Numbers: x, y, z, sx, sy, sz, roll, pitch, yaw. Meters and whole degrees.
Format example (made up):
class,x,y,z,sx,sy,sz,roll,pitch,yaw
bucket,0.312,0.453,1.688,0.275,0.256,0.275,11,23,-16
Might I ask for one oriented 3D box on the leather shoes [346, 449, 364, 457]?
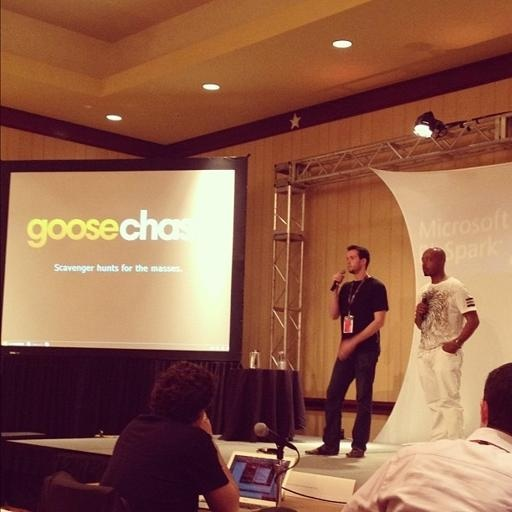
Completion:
class,x,y,z,sx,sy,sz,roll,pitch,yaw
leather shoes,0.836,1.648,4.221,0.133,0.059,0.065,1,-7,2

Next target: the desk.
class,x,y,z,sx,sy,sz,roll,pitch,yaw
desk,0.076,1.499,5.119,0.785,0.618,0.785,2,-13,-13

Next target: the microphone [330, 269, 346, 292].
class,x,y,z,sx,sy,sz,roll,pitch,yaw
microphone,0.892,0.260,5.448,0.104,0.310,0.094,48,-29,-22

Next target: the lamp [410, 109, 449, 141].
class,x,y,z,sx,sy,sz,roll,pitch,yaw
lamp,1.852,-1.362,5.357,0.266,0.172,0.365,17,6,23

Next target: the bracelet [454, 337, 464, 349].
class,x,y,z,sx,sy,sz,roll,pitch,yaw
bracelet,1.705,0.738,4.237,0.077,0.078,0.079,0,-7,-6
